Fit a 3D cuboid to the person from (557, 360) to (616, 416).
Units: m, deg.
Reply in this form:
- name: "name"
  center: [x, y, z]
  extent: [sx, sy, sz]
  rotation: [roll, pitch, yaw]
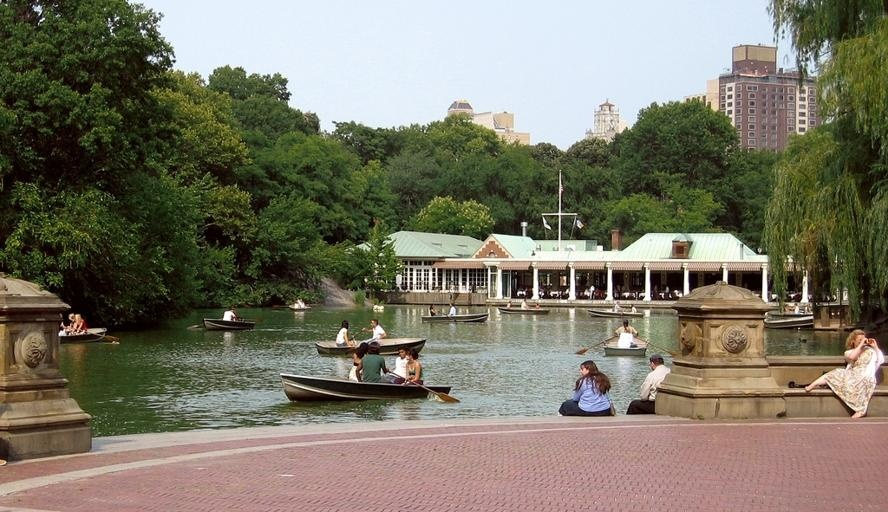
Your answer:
- name: "person"
  center: [4.463, 4.065, 30.957]
  extent: [1.515, 1.631, 0.813]
  rotation: [1, 6, 5]

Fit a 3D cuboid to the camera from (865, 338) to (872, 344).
- name: "camera"
  center: [12.868, 2.549, 30.287]
  extent: [0.140, 0.170, 0.049]
  rotation: [5, -1, 13]

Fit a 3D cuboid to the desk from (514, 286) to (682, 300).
- name: "desk"
  center: [15.361, 3.479, 96.373]
  extent: [9.283, 0.919, 1.558]
  rotation: [1, -1, 16]

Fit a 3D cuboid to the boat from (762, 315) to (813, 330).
- name: "boat"
  center: [22.422, 4.276, 64.714]
  extent: [1.050, 1.042, 3.437]
  rotation: [-4, 7, -39]

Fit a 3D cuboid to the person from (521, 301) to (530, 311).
- name: "person"
  center: [6.820, 4.180, 85.620]
  extent: [0.722, 0.957, 0.777]
  rotation: [0, 1, 16]

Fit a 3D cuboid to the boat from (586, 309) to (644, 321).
- name: "boat"
  center: [13.326, 4.503, 76.814]
  extent: [4.183, 0.497, 5.451]
  rotation: [1, 5, 8]

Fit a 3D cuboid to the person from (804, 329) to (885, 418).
- name: "person"
  center: [12.245, 3.511, 30.234]
  extent: [1.565, 2.596, 0.617]
  rotation: [2, 7, 17]

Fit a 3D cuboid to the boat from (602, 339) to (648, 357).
- name: "boat"
  center: [9.046, 4.572, 49.920]
  extent: [2.092, 0.718, 1.465]
  rotation: [1, 5, 1]
